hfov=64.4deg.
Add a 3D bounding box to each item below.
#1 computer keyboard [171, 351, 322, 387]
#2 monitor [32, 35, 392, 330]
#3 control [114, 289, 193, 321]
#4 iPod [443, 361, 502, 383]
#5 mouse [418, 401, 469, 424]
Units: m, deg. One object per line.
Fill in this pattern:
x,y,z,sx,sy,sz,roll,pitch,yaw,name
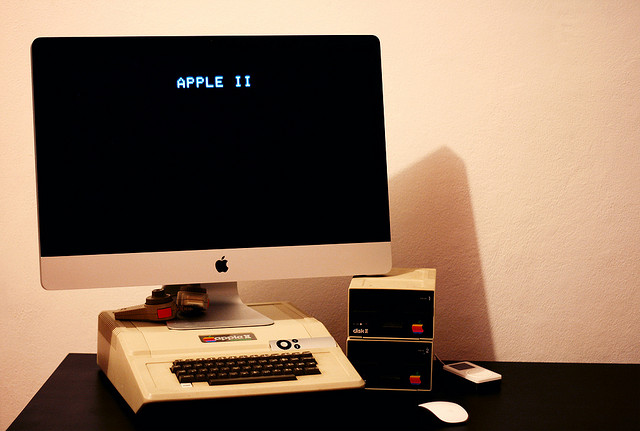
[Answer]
-0.177,0.370,1.226,0.353,0.032,0.101,0,8,-12,computer keyboard
-0.295,-0.117,1.415,0.980,0.734,0.224,-1,-2,-13,monitor
-0.467,0.249,1.441,0.226,0.069,0.139,-5,7,-24,control
0.441,0.457,1.489,0.099,0.022,0.145,-2,9,-25,iPod
0.316,0.498,1.291,0.106,0.020,0.082,0,8,-11,mouse
